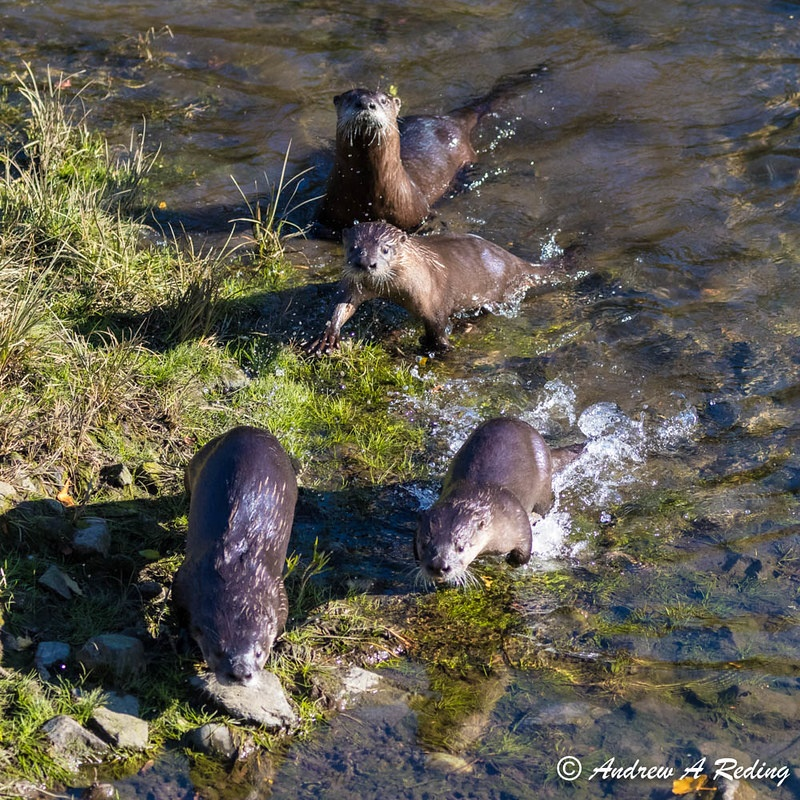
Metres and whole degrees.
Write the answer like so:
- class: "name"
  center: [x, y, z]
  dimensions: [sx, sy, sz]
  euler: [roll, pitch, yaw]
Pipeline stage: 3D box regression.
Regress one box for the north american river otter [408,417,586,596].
- class: "north american river otter"
  center: [0.434, 0.526, 5.260]
  dimensions: [0.423, 0.407, 1.113]
  euler: [6, 46, 32]
